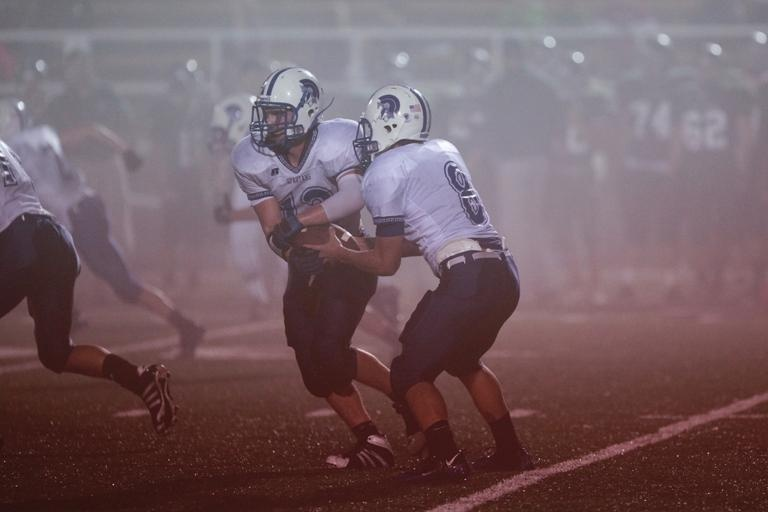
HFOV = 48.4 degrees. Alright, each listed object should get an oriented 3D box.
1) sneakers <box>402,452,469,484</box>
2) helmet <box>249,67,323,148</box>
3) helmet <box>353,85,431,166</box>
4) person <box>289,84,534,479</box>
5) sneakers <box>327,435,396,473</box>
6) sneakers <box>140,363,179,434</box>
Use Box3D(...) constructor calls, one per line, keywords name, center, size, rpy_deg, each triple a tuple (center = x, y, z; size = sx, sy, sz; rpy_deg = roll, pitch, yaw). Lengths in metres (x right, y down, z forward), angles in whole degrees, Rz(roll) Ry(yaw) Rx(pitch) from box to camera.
Box3D(name="sneakers", center=(0.340, 1.351, 5.400), size=(0.521, 0.190, 0.173), rpy_deg=(-9, -26, 24))
Box3D(name="helmet", center=(-0.616, -1.027, 5.832), size=(0.588, 0.471, 0.427), rpy_deg=(-22, 23, -38))
Box3D(name="helmet", center=(0.059, -0.890, 5.750), size=(0.590, 0.537, 0.464), rpy_deg=(1, 12, 22))
Box3D(name="person", center=(0.386, 0.332, 5.378), size=(0.966, 2.096, 0.607), rpy_deg=(-4, 10, -21))
Box3D(name="sneakers", center=(-0.116, 1.301, 5.684), size=(0.501, 0.191, 0.183), rpy_deg=(1, -5, 4))
Box3D(name="sneakers", center=(-1.482, 0.937, 5.751), size=(0.196, 0.497, 0.259), rpy_deg=(-18, -2, -38))
